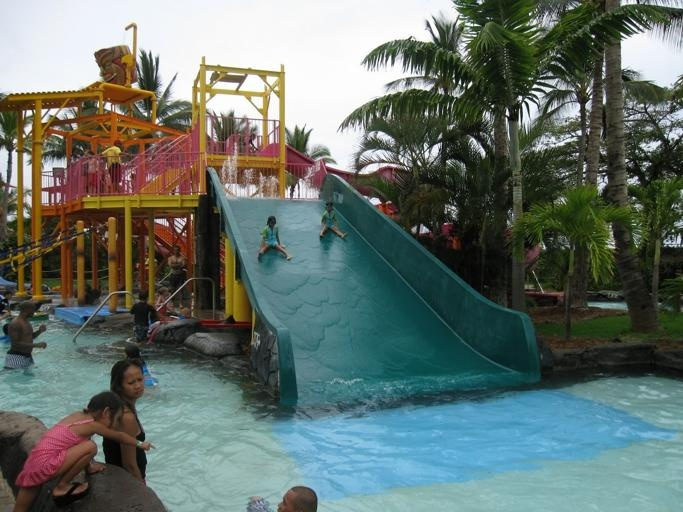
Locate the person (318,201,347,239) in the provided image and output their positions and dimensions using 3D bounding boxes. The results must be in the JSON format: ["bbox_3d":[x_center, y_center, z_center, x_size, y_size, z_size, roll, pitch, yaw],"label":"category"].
[{"bbox_3d":[-0.238,-0.809,12.706,0.535,0.642,1.137,-2,25,-12],"label":"person"}]

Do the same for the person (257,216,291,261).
[{"bbox_3d":[-1.355,-0.393,11.435,0.629,0.768,0.763,-2,28,-14],"label":"person"}]

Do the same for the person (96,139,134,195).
[{"bbox_3d":[-6.440,-2.552,16.082,0.663,1.460,2.803,-3,8,-20],"label":"person"}]

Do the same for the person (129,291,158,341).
[{"bbox_3d":[-4.017,1.163,11.678,0.523,1.146,1.614,-3,8,-19],"label":"person"}]

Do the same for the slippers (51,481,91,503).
[{"bbox_3d":[-2.217,1.941,4.672,0.275,0.127,0.068,-17,-27,-24],"label":"slippers"}]

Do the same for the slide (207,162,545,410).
[{"bbox_3d":[0.003,-0.119,11.574,4.382,3.347,7.932,-3,8,-19],"label":"slide"}]

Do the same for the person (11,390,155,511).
[{"bbox_3d":[-2.332,1.791,5.175,0.877,1.073,0.432,24,17,-37],"label":"person"}]

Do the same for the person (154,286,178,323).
[{"bbox_3d":[-3.963,1.094,12.826,0.356,0.919,1.848,-3,8,-18],"label":"person"}]
